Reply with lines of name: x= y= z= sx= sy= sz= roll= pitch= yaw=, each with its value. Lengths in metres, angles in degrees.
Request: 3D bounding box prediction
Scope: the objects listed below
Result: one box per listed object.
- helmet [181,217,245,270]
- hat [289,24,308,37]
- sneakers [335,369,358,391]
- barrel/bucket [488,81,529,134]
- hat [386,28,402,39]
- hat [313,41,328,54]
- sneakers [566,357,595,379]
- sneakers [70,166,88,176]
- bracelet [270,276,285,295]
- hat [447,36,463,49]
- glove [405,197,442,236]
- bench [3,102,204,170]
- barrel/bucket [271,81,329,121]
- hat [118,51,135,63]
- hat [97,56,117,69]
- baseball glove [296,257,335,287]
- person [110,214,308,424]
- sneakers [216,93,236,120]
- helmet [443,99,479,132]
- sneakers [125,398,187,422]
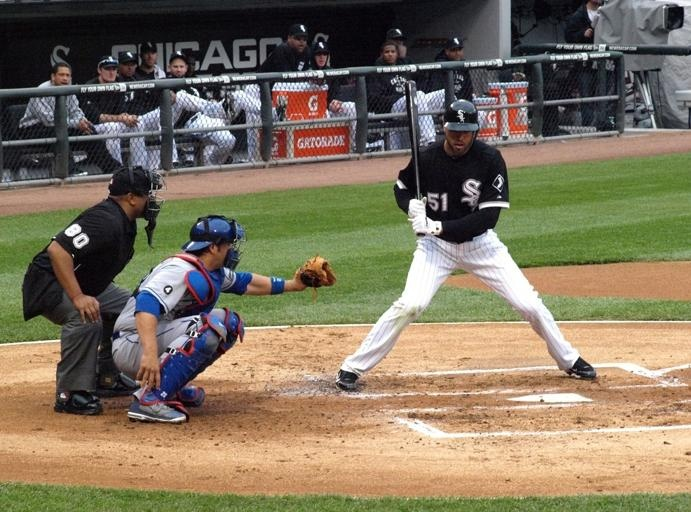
helmet: x=-0.991 y=-0.133 z=8.565 sx=0.444 sy=0.349 sz=0.339 roll=-3 pitch=18 yaw=-19
hat: x=-0.696 y=-3.367 z=17.714 sx=0.298 sy=0.192 sz=0.386 roll=-2 pitch=9 yaw=-21
sneakers: x=0.012 y=0.955 z=9.069 sx=0.127 sy=0.132 sz=0.202 roll=7 pitch=-5 yaw=-26
barrel/bucket: x=2.606 y=-2.417 z=18.834 sx=0.725 sy=1.134 sz=0.692 roll=-3 pitch=13 yaw=1
hat: x=0.792 y=-3.571 z=18.981 sx=0.241 sy=0.191 sz=0.457 roll=-3 pitch=6 yaw=8
hat: x=-0.377 y=-3.123 z=17.692 sx=0.219 sy=0.190 sz=0.360 roll=-5 pitch=6 yaw=-4
sneakers: x=1.853 y=0.861 z=9.130 sx=0.261 sy=0.109 sz=0.122 roll=3 pitch=17 yaw=28
sneakers: x=-3.615 y=-1.149 z=15.925 sx=0.163 sy=0.039 sz=0.114 roll=15 pitch=-11 yaw=-40
bracelet: x=-0.526 y=0.218 z=9.024 sx=0.098 sy=0.119 sz=0.104 roll=1 pitch=-4 yaw=-17
hat: x=1.753 y=-3.393 z=18.831 sx=0.242 sy=0.176 sz=0.436 roll=-4 pitch=6 yaw=3
glove: x=0.602 y=-0.293 z=8.916 sx=0.219 sy=0.285 sz=0.289 roll=-6 pitch=7 yaw=-12
bench: x=-3.350 y=-1.624 z=15.693 sx=1.302 sy=0.326 sz=1.232 roll=14 pitch=20 yaw=34
barrel/bucket: x=-0.637 y=-2.274 z=17.192 sx=0.940 sy=0.579 sz=0.538 roll=0 pitch=6 yaw=-17
hat: x=-3.011 y=-2.725 z=16.185 sx=0.207 sy=0.162 sz=0.322 roll=-6 pitch=7 yaw=-13
hat: x=-3.191 y=-2.614 z=15.869 sx=0.251 sy=0.173 sz=0.305 roll=-9 pitch=8 yaw=-38
baseball glove: x=-0.217 y=0.132 z=8.997 sx=0.276 sy=0.215 sz=0.130 roll=2 pitch=-1 yaw=-18
person: x=-1.180 y=0.346 z=8.767 sx=1.577 sy=1.271 sz=1.059 roll=-2 pitch=17 yaw=-16
sneakers: x=-1.654 y=-2.125 z=16.685 sx=0.264 sy=0.341 sz=0.097 roll=-10 pitch=14 yaw=-19
helmet: x=0.868 y=-1.044 z=8.811 sx=0.253 sy=0.236 sz=0.217 roll=-4 pitch=7 yaw=3
sneakers: x=-1.364 y=1.117 z=8.567 sx=0.460 sy=0.206 sz=0.162 roll=2 pitch=1 yaw=3
